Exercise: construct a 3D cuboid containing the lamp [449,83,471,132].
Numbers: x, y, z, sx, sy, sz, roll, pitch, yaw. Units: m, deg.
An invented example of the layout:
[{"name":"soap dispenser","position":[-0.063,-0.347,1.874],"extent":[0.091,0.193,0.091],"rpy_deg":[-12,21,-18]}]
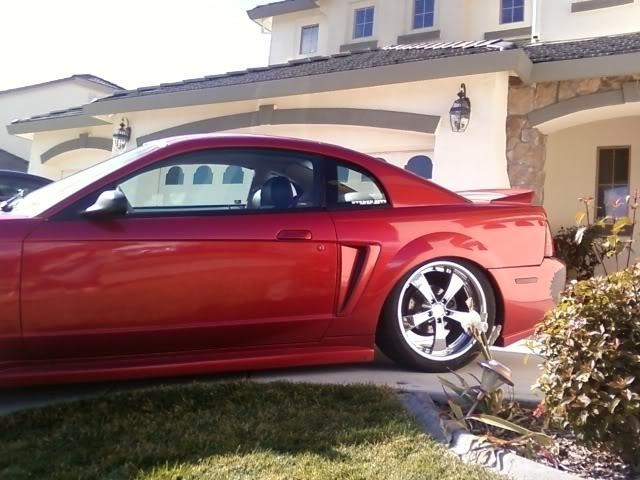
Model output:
[{"name":"lamp","position":[2.412,-2.313,7.205],"extent":[0.365,0.670,0.240],"rpy_deg":[2,-1,27]}]
